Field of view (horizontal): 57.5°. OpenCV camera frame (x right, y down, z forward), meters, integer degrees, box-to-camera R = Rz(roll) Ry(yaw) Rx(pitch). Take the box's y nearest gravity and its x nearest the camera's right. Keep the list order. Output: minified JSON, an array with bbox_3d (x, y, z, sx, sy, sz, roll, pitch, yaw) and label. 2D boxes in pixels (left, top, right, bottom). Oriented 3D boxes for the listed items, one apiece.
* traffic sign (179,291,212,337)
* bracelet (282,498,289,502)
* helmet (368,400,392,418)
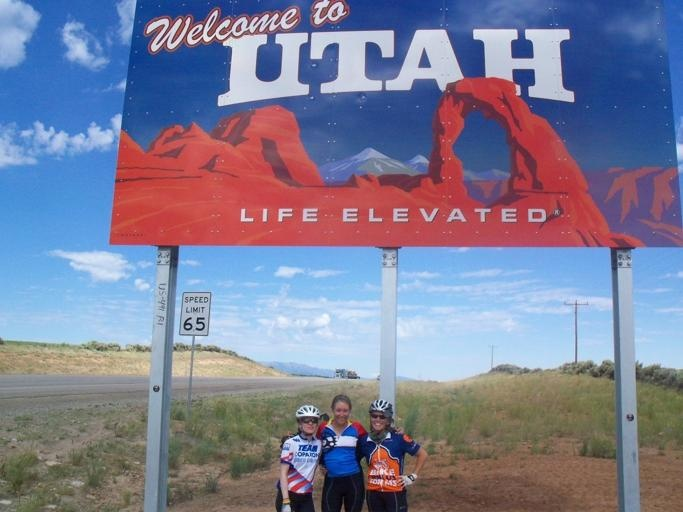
[{"bbox_3d":[-3.196,1.261,13.568,0.589,0.925,0.442,6,-12,-23],"label":"traffic sign"},{"bbox_3d":[-0.756,3.292,8.394,0.086,0.072,0.047,-1,-11,11],"label":"bracelet"},{"bbox_3d":[0.556,2.149,8.792,0.347,0.226,0.561,2,-19,10],"label":"helmet"}]
